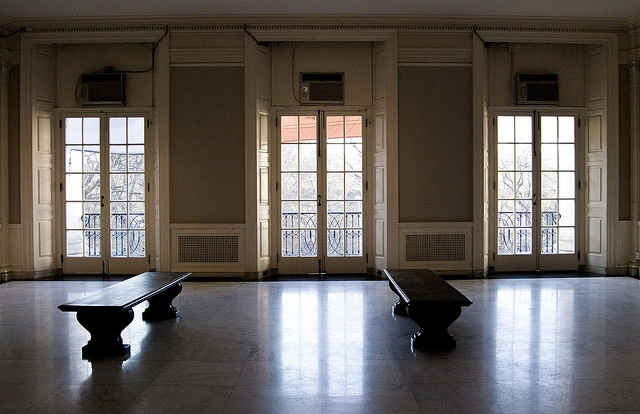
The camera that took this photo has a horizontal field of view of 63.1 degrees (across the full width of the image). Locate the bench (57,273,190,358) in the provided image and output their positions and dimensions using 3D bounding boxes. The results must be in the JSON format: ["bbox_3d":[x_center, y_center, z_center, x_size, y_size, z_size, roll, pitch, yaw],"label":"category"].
[{"bbox_3d":[-2.388,1.287,6.510,0.733,0.636,1.406,4,13,17],"label":"bench"}]

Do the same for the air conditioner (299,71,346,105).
[{"bbox_3d":[0.154,-2.175,9.606,0.926,0.573,0.570,5,9,23],"label":"air conditioner"}]

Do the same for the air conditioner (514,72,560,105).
[{"bbox_3d":[3.954,-2.152,9.670,0.814,0.602,0.421,-2,9,-10],"label":"air conditioner"}]

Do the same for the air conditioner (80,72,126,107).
[{"bbox_3d":[-3.850,-2.149,9.623,0.901,0.578,0.519,3,10,14],"label":"air conditioner"}]
